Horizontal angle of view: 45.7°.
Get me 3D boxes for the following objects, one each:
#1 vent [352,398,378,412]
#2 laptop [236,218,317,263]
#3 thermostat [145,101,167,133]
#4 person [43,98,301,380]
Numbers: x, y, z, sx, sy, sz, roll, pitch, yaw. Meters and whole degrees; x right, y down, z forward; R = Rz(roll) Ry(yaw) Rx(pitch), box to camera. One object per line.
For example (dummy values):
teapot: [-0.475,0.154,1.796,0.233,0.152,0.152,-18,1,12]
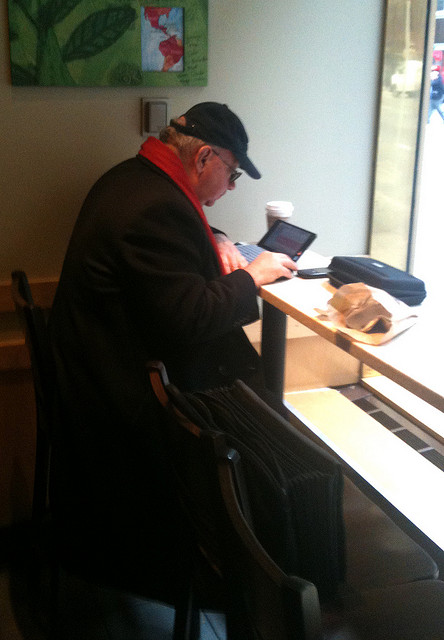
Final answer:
vent: [0.512,0.305,1.886,0.040,0.011,0.042,-14,35,-37]
laptop: [0.159,-0.215,1.502,0.070,0.150,0.169,19,14,-49]
thermostat: [-0.214,-0.670,1.732,0.075,0.106,0.027,8,8,-10]
person: [-0.129,-0.041,1.270,0.500,0.881,0.424,8,25,-18]
